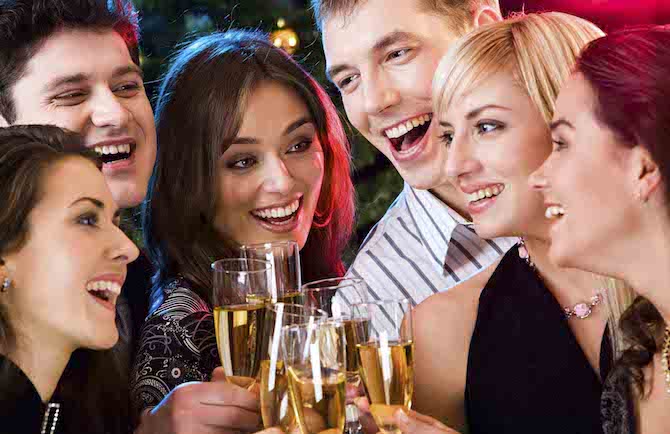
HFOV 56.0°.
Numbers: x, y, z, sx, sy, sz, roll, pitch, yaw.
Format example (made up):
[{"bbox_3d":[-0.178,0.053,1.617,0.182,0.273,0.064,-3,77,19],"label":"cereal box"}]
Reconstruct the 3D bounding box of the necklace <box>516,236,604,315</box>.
[{"bbox_3d":[1.088,0.281,3.102,0.298,0.385,0.113,-38,-6,1],"label":"necklace"}]
